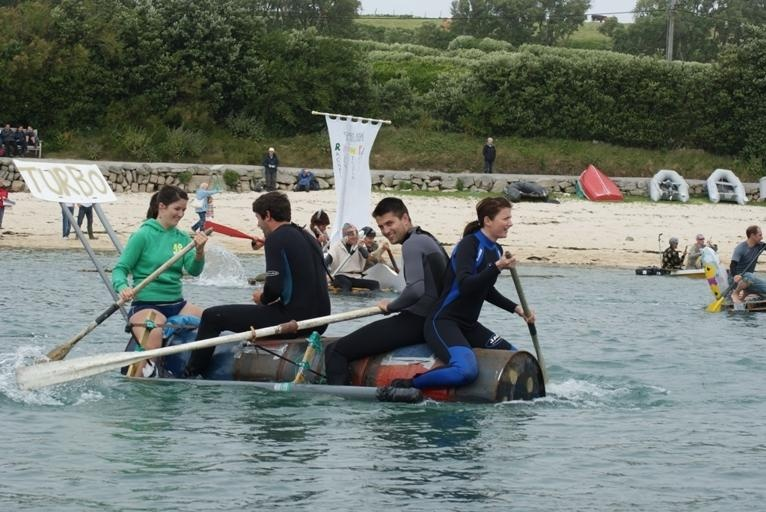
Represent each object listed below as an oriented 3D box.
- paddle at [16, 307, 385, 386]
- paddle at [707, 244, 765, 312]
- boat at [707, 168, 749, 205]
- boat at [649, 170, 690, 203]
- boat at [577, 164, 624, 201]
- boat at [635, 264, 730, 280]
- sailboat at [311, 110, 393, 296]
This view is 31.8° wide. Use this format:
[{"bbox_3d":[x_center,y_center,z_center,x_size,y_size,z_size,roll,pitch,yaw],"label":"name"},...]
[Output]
[{"bbox_3d":[-4.877,2.501,36.603,9.568,0.933,0.929,-6,-24,3],"label":"paddle"},{"bbox_3d":[11.547,0.763,43.673,0.439,2.970,0.329,44,-16,-7],"label":"paddle"},{"bbox_3d":[15.985,-3.245,62.277,1.788,1.555,2.478,1,4,12],"label":"boat"},{"bbox_3d":[13.181,-3.186,61.550,1.815,1.372,2.084,1,4,11],"label":"boat"},{"bbox_3d":[9.858,-3.168,60.900,1.399,0.623,2.180,-8,37,-22],"label":"boat"},{"bbox_3d":[10.813,0.521,48.398,3.197,0.406,0.735,5,-1,24],"label":"boat"},{"bbox_3d":[-1.210,-2.449,47.976,2.387,5.185,2.405,2,0,-17],"label":"sailboat"}]
